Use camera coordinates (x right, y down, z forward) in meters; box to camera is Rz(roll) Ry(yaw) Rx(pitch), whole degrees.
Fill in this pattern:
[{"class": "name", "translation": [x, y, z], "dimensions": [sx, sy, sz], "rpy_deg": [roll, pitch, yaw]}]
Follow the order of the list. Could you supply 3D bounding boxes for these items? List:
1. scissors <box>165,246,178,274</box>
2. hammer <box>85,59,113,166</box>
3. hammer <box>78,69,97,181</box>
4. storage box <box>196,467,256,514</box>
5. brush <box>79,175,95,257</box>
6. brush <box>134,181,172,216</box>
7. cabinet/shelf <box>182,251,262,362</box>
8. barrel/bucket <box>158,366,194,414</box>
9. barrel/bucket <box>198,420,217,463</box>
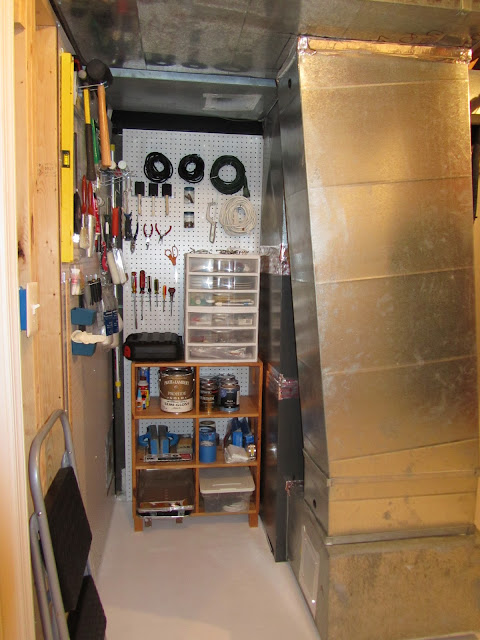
[{"class": "scissors", "translation": [-0.395, -0.357, 3.180], "dimensions": [0.050, 0.154, 0.015], "rpy_deg": [-12, 9, -5]}, {"class": "hammer", "translation": [-0.578, -0.850, 2.272], "dimensions": [0.096, 0.421, 0.126], "rpy_deg": [-4, 3, -18]}, {"class": "hammer", "translation": [-0.637, -0.803, 2.275], "dimensions": [0.047, 0.342, 0.195], "rpy_deg": [1, 12, -11]}, {"class": "storage box", "translation": [-0.071, 0.972, 3.068], "dimensions": [0.293, 0.212, 0.243], "rpy_deg": [0, 4, -6]}, {"class": "brush", "translation": [-0.651, -0.439, 2.316], "dimensions": [0.060, 0.328, 0.173], "rpy_deg": [0, 7, -11]}, {"class": "brush", "translation": [-0.511, -0.705, 3.115], "dimensions": [0.197, 0.199, 0.014], "rpy_deg": [-1, 23, -8]}, {"class": "cabinet/shelf", "translation": [-0.096, -0.054, 2.911], "dimensions": [0.483, 0.644, 0.356], "rpy_deg": [0, 3, -7]}, {"class": "barrel/bucket", "translation": [-0.352, 0.390, 3.016], "dimensions": [0.200, 0.241, 0.174], "rpy_deg": [1, 8, -9]}, {"class": "barrel/bucket", "translation": [-0.190, 0.700, 3.111], "dimensions": [0.103, 0.183, 0.175], "rpy_deg": [0, -3, -4]}]
